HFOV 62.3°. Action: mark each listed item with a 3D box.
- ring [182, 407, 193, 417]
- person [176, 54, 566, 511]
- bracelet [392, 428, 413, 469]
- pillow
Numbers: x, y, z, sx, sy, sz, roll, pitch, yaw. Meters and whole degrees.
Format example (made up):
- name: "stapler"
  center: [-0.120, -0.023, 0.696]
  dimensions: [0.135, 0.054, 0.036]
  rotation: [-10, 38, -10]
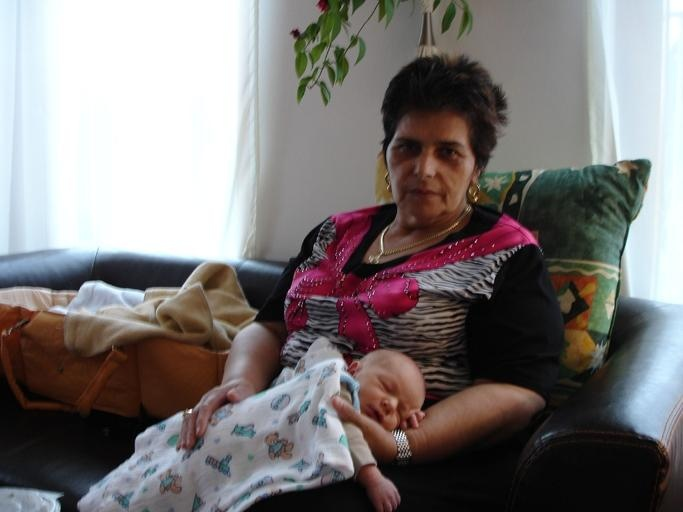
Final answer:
- name: "ring"
  center: [-0.387, 0.395, 1.430]
  dimensions: [0.025, 0.013, 0.034]
  rotation: [-41, 16, -29]
- name: "person"
  center: [0.116, 0.102, 1.936]
  dimensions: [1.004, 1.528, 1.066]
  rotation: [3, 4, -30]
- name: "bracelet"
  center: [0.140, 0.436, 1.283]
  dimensions: [0.044, 0.070, 0.074]
  rotation: [0, -5, 3]
- name: "pillow"
  center: [0.530, 0.001, 1.795]
  dimensions: [0.688, 0.705, 0.223]
  rotation: [1, -25, 21]
